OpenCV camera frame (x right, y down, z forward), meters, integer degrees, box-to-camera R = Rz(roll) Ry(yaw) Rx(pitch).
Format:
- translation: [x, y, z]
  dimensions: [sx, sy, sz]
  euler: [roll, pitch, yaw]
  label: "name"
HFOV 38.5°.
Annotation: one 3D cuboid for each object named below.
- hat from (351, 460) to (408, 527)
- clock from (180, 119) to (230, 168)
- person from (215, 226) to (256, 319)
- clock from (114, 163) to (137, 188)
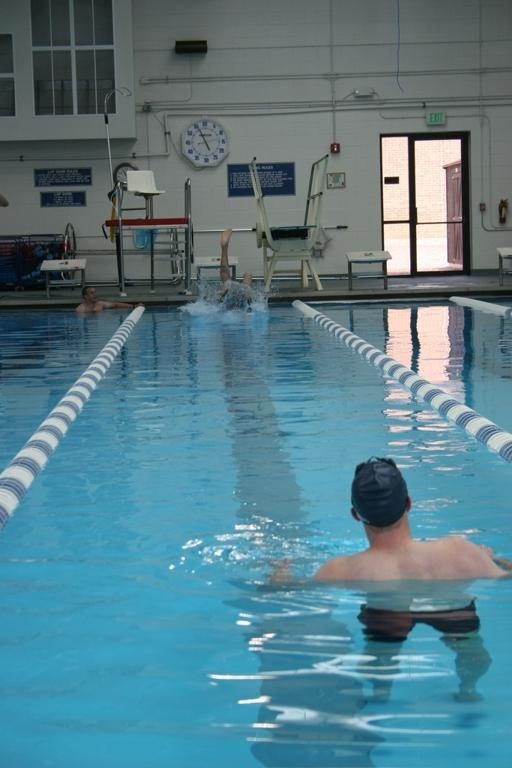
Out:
- translation: [0.254, 0.203, 1.496]
  dimensions: [0.114, 0.056, 0.157]
  euler: [-18, 13, 23]
  label: "hat"
- translation: [-0.813, -3.761, 11.385]
  dimensions: [0.787, 0.786, 0.099]
  euler: [-1, 9, -5]
  label: "clock"
- translation: [-0.267, -1.302, 8.579]
  dimensions: [0.512, 0.978, 0.369]
  euler: [-9, 11, 17]
  label: "person"
- translation: [-1.997, -3.224, 11.069]
  dimensions: [0.323, 0.314, 0.791]
  euler: [-4, 10, -10]
  label: "clock"
